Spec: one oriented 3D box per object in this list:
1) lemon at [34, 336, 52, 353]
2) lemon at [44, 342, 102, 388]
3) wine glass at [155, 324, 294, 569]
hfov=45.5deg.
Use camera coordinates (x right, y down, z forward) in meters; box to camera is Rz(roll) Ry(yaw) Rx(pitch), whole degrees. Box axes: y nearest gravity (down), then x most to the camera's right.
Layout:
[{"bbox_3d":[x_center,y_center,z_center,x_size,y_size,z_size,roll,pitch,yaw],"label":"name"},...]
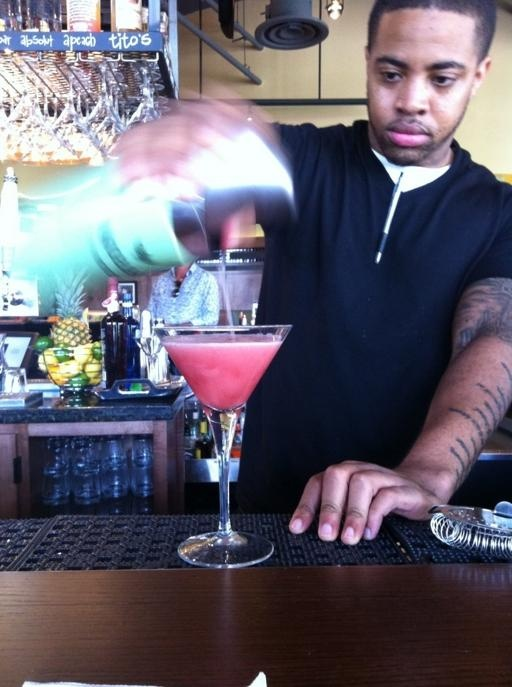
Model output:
[{"bbox_3d":[-0.867,0.001,2.474,0.047,0.042,0.051,25,35,6],"label":"lemon"},{"bbox_3d":[-0.692,0.073,2.301,0.221,0.160,0.137,1,7,-15],"label":"lemon"},{"bbox_3d":[-0.041,0.123,0.828,0.164,0.295,0.141,2,8,-18],"label":"wine glass"}]
